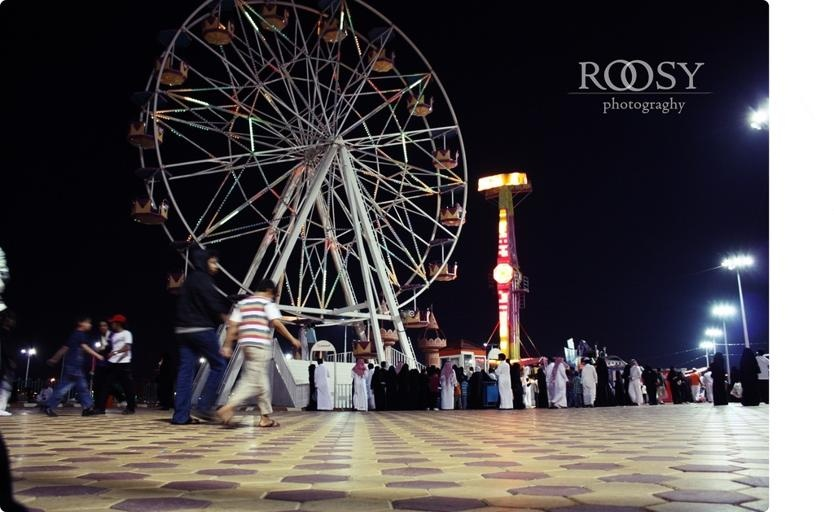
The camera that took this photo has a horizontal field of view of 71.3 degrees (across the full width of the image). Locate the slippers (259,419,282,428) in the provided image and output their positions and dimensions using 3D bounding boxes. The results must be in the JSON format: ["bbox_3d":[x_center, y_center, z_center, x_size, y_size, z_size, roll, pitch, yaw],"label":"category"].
[{"bbox_3d":[-2.236,2.558,8.922,0.179,0.116,0.338,0,-6,13],"label":"slippers"}]

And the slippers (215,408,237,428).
[{"bbox_3d":[-2.854,2.391,8.658,0.310,0.304,1.204,3,-13,-18],"label":"slippers"}]
